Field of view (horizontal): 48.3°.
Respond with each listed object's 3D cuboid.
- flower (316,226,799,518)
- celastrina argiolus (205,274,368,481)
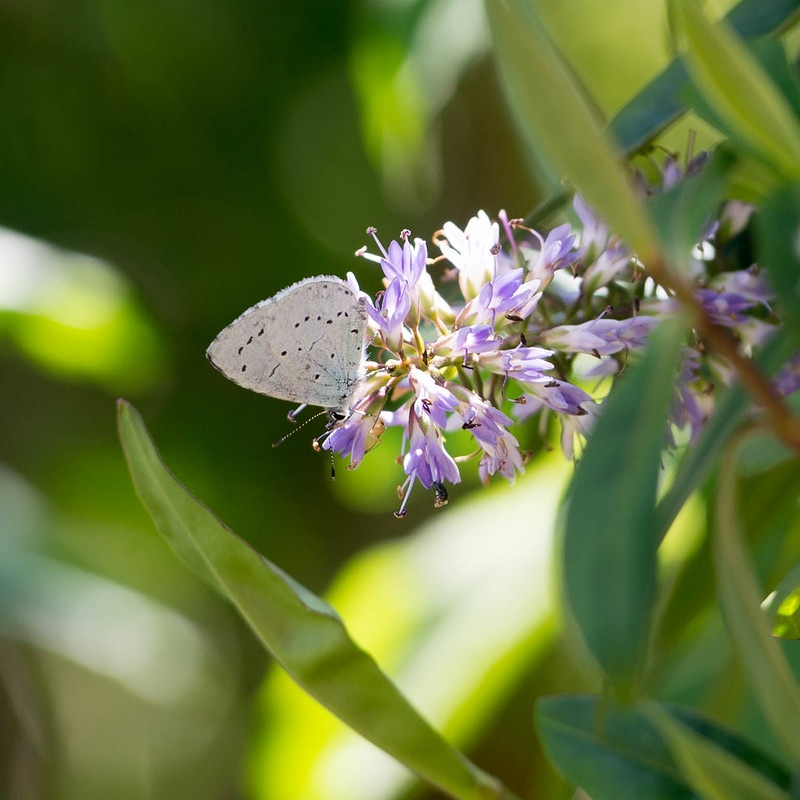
[{"bbox_3d":[0.115,-0.077,0.778,0.359,0.209,0.203,-13,-18,-5],"label":"flower"},{"bbox_3d":[-0.093,-0.038,0.784,0.084,0.144,0.173,16,-6,30],"label":"celastrina argiolus"}]
